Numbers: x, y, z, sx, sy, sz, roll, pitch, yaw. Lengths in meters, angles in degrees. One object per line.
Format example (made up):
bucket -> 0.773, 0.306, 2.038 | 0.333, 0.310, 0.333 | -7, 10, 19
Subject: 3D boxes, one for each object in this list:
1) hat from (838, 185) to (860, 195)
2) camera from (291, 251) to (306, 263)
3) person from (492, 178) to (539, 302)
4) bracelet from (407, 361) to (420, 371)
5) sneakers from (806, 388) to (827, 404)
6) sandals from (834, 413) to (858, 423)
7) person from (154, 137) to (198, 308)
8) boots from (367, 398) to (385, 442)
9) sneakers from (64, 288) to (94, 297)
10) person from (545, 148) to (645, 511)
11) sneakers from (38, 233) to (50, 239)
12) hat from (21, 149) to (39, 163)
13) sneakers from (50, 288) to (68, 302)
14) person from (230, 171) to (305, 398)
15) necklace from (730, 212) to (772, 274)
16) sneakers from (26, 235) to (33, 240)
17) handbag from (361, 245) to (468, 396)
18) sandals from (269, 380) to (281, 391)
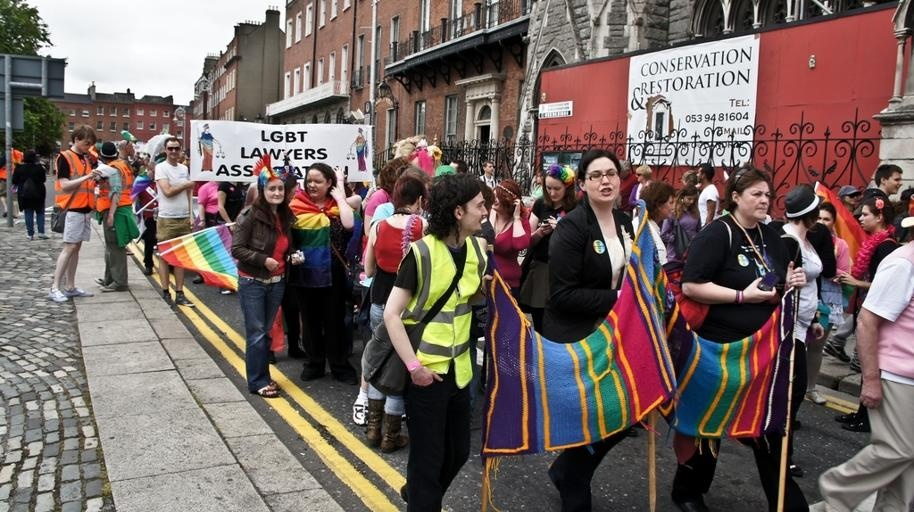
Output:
hat -> 6.582, -1.102, 12.023 | 0.253, 0.173, 0.338 | -5, -8, -44
camera -> -2.189, 0.017, 9.928 | 0.163, 0.063, 0.164 | 7, 35, 33
person -> 0.748, -0.224, 9.866 | 0.586, 1.599, 0.589 | 1, 12, 1
bracelet -> -0.429, 1.110, 7.229 | 0.106, 0.038, 0.105 | -34, 73, -26
sneakers -> 5.087, 1.993, 10.236 | 0.135, 0.140, 0.351 | -3, 4, -17
sandals -> 5.219, 2.174, 9.622 | 0.268, 0.097, 0.102 | 2, 10, 38
person -> -5.273, -0.695, 13.462 | 0.682, 2.961, 1.581 | -4, 13, -22
boots -> -0.991, 2.043, 9.081 | 0.221, 0.503, 0.517 | 5, -3, 6
sneakers -> -6.795, 0.658, 12.947 | 0.492, 0.192, 0.163 | 0, 15, -29
person -> 1.404, 0.844, 7.884 | 0.906, 3.929, 1.206 | 4, 12, 13
sneakers -> -10.960, -0.531, 19.088 | 0.267, 0.117, 0.128 | 1, 4, 10
hat -> -11.457, -2.695, 19.279 | 0.317, 0.380, 0.394 | 4, 11, -3
sneakers -> -7.021, 0.678, 12.726 | 0.368, 0.218, 0.284 | 10, 15, 38
person -> -2.549, 0.356, 9.832 | 0.832, 3.014, 0.642 | -9, 15, -38
necklace -> 3.250, -0.145, 7.911 | 0.151, 0.552, 0.436 | -34, 5, 14
sneakers -> -11.121, -0.486, 18.722 | 0.095, 0.110, 0.258 | -7, 16, -40
handbag -> -0.371, 0.734, 7.809 | 1.468, 1.302, 1.092 | 14, 22, 16
sandals -> -2.502, 1.761, 9.891 | 0.133, 0.033, 0.138 | 49, 9, 30
